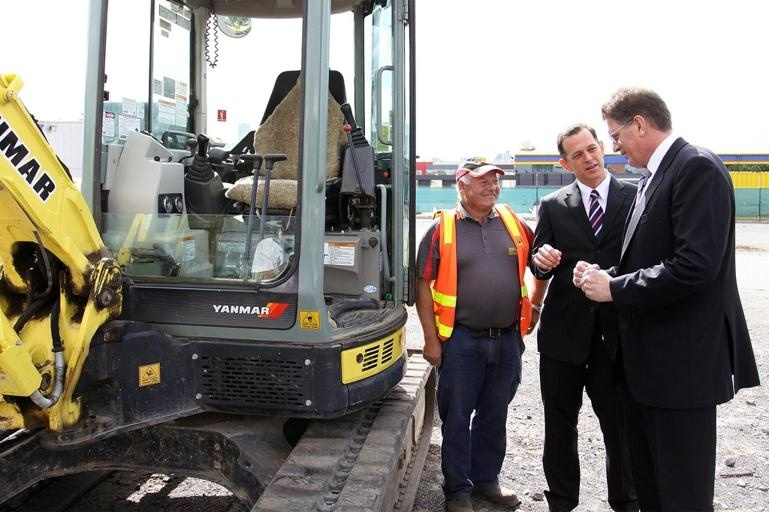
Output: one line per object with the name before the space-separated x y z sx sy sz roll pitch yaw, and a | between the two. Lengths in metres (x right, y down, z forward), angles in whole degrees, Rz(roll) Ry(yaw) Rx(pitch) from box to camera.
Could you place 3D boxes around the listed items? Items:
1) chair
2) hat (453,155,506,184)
chair | -0.698 -0.913 4.234 0.759 1.156 0.904 5 6 8
hat | 0.660 -0.597 4.007 0.371 0.147 0.246 -3 3 42
